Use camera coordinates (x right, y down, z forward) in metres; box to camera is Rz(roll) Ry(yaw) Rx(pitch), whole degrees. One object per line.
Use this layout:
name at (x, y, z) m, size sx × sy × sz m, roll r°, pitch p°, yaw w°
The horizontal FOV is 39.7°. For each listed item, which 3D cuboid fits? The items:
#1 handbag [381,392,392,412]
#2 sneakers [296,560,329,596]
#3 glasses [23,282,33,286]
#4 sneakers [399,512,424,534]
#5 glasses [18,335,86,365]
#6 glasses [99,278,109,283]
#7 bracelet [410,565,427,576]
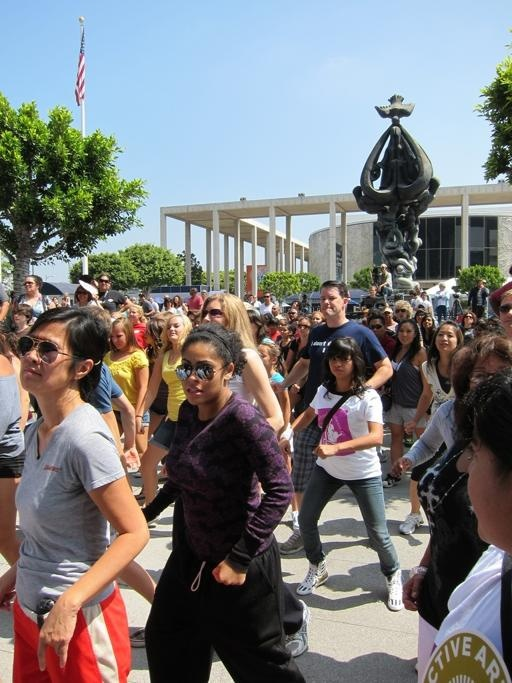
handbag at (1.371, 0.670, 7.507) m, size 0.059 × 0.201 × 0.209 m, roll -4°, pitch 17°, yaw -17°
sneakers at (0.417, 1.461, 4.311) m, size 0.099 × 0.154 × 0.304 m, roll -14°, pitch -7°, yaw 35°
glasses at (-2.966, -0.749, 9.336) m, size 0.067 × 0.026 × 0.082 m, roll 3°, pitch -2°, yaw 5°
sneakers at (1.183, 1.427, 5.460) m, size 0.097 × 0.094 × 0.236 m, roll -24°, pitch -4°, yaw 40°
glasses at (-0.707, 0.028, 2.395) m, size 0.111 × 0.042 × 0.124 m, roll 10°, pitch -11°, yaw 8°
glasses at (-2.082, -0.847, 9.795) m, size 0.143 × 0.092 × 0.173 m, roll -1°, pitch 3°, yaw -20°
bracelet at (0.639, 0.924, 2.798) m, size 0.055 × 0.026 × 0.047 m, roll -18°, pitch -1°, yaw 12°
